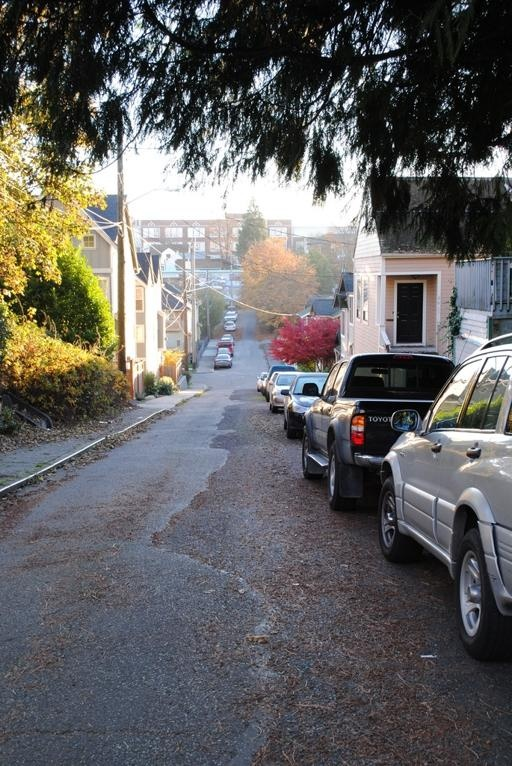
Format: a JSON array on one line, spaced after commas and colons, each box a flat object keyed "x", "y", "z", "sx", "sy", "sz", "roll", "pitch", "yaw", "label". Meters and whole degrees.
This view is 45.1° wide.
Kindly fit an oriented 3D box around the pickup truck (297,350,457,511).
[{"x": 1.428, "y": 0.444, "z": 8.041, "sx": 1.099, "sy": 1.313, "sz": 2.775, "roll": 1, "pitch": 6, "yaw": -5, "label": "pickup truck"}]
